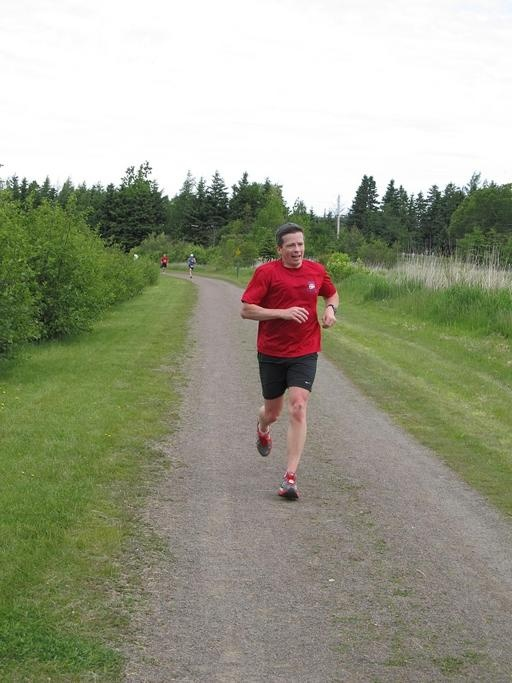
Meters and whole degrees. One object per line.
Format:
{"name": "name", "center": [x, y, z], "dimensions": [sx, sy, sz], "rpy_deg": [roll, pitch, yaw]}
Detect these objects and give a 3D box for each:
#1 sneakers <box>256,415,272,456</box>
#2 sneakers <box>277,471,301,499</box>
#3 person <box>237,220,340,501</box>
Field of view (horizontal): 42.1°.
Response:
{"name": "sneakers", "center": [0.067, 0.885, 6.215], "dimensions": [0.133, 0.384, 0.166], "rpy_deg": [-5, -17, -7]}
{"name": "sneakers", "center": [0.267, 1.171, 5.417], "dimensions": [0.178, 0.224, 0.183], "rpy_deg": [1, 7, -18]}
{"name": "person", "center": [0.203, 0.137, 5.596], "dimensions": [0.633, 2.225, 0.741], "rpy_deg": [4, 7, 8]}
